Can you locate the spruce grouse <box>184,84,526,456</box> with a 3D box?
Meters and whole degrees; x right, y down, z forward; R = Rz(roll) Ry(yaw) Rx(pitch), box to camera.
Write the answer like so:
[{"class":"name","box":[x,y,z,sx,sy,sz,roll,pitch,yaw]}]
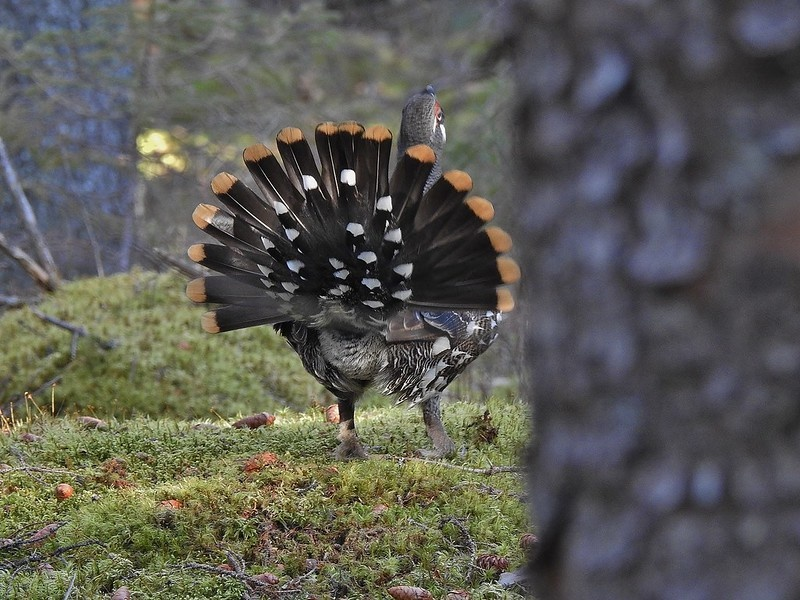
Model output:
[{"class":"spruce grouse","box":[-0.197,-0.037,4.649,1.380,1.809,1.564,-2,7,-17]}]
